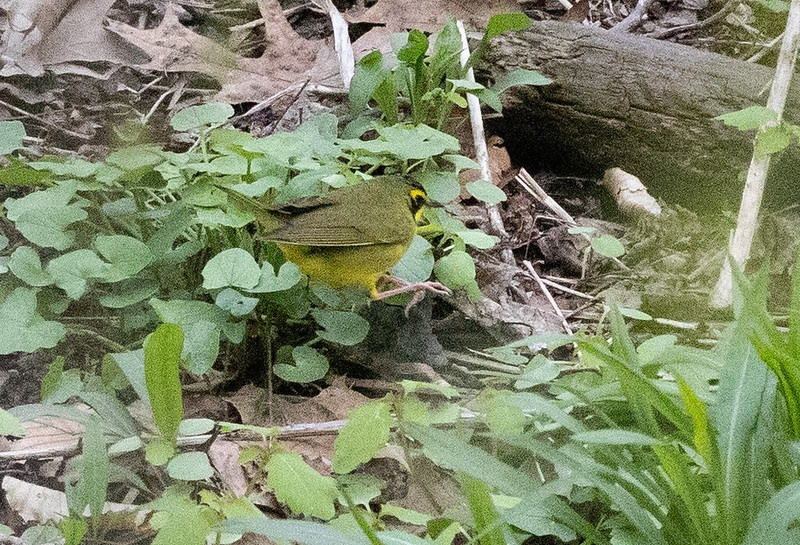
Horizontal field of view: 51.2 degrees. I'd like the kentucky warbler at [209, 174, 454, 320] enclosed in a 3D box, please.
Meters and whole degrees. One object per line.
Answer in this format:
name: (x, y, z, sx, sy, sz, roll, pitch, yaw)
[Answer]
kentucky warbler: (-0.399, -0.226, 4.552, 1.376, 0.610, 0.511, 1, 12, -34)
